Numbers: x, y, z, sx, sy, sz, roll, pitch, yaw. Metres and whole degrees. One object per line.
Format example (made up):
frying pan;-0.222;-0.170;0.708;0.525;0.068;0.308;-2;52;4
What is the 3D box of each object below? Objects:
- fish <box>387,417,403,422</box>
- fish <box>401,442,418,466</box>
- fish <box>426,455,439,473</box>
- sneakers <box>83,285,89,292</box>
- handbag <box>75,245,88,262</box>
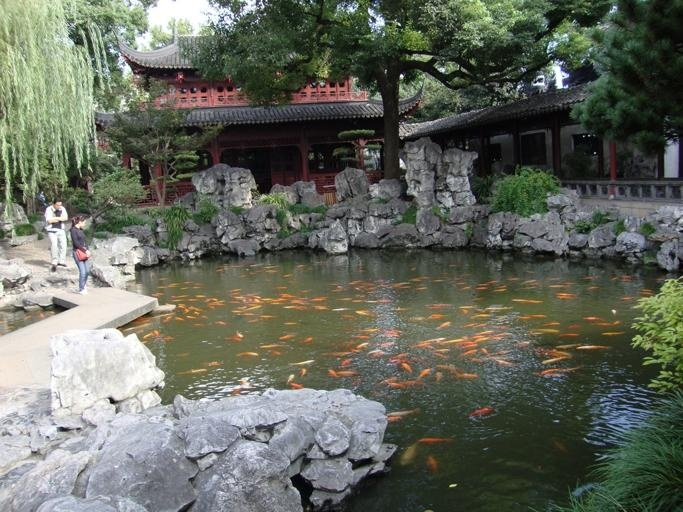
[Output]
fish;0.628;1.941;6.146;0.171;0.060;0.047;2;-38;1
fish;0.729;2.134;5.588;0.182;0.064;0.408;16;5;14
fish;0.959;2.189;5.451;0.055;0.077;0.150;6;26;-2
sneakers;-5.477;0.699;11.105;0.162;0.151;0.174;3;-8;-31
handbag;-5.144;-0.024;10.256;0.095;0.218;0.252;-9;-8;30
